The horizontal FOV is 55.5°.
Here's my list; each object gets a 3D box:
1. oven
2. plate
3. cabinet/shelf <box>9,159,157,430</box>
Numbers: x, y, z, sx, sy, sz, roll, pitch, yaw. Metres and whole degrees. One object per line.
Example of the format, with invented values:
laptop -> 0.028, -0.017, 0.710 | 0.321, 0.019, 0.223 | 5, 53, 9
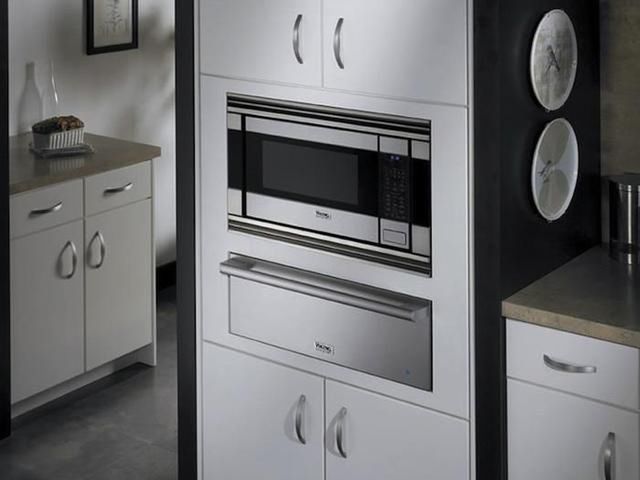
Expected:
oven -> 0.025, 0.264, 2.064 | 0.838, 0.314, 0.273 | 9, 19, 35
plate -> 0.707, -0.361, 1.821 | 0.086, 0.625, 0.355 | 7, 13, 35
cabinet/shelf -> -1.298, 0.273, 3.269 | 0.434, 1.204, 1.196 | 4, 10, 31
